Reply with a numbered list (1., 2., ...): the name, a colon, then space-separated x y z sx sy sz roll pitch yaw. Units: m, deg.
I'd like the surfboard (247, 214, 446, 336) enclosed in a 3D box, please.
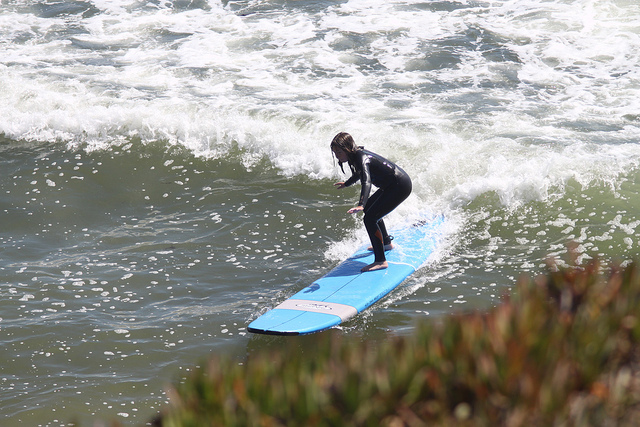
1. surfboard: 0.964 1.447 16.835 5.278 0.478 1.401 -25 31 -37
